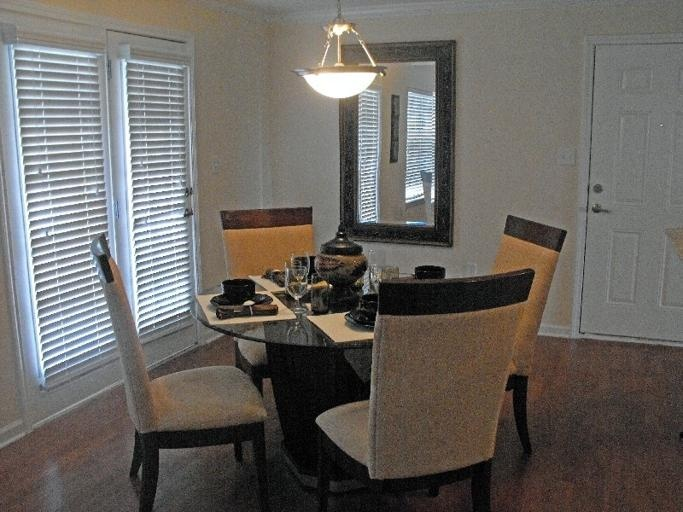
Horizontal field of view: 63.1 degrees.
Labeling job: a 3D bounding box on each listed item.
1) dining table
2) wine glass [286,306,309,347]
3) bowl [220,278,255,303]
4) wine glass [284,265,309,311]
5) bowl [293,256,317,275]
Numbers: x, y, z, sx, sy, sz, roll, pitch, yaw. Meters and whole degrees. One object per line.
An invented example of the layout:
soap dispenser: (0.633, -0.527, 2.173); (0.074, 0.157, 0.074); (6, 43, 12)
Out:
dining table: (-0.187, 0.531, 2.721); (0.922, 0.665, 0.886); (-3, 5, -41)
wine glass: (-0.192, 0.324, 2.454); (0.097, 0.171, 0.096); (0, 9, -3)
bowl: (-0.504, 0.172, 2.765); (0.110, 0.094, 0.127); (0, 0, 5)
wine glass: (-0.220, 0.139, 2.733); (0.107, 0.222, 0.231); (-1, 12, -5)
bowl: (-0.186, 0.051, 2.820); (0.091, 0.155, 0.098); (-1, 9, 0)
